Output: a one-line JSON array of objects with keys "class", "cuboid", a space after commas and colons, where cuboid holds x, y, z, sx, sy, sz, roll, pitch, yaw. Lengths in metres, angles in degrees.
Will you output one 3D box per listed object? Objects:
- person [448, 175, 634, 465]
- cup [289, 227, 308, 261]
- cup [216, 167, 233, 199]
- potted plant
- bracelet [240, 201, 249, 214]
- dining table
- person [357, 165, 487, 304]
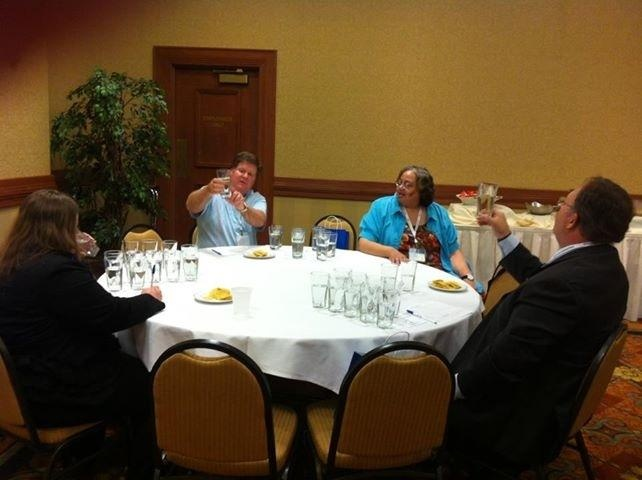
[{"class": "person", "cuboid": [0.924, 0.343, 2.013, 0.694, 1.197, 0.375, -5, 13, -31]}, {"class": "cup", "cuboid": [-0.152, 0.015, 3.196, 0.143, 0.280, 0.158, 1, 2, -4]}, {"class": "cup", "cuboid": [-0.618, -0.363, 3.079, 0.071, 0.188, 0.102, -1, 12, -12]}, {"class": "potted plant", "cuboid": [-1.808, -1.078, 5.103, 1.288, 1.194, 2.368, -19, 48, -21]}, {"class": "bracelet", "cuboid": [-0.543, -0.224, 3.426, 0.025, 0.065, 0.056, -2, 49, -29]}, {"class": "dining table", "cuboid": [2.155, 0.188, 4.724, 1.741, 0.530, 1.098, 1, 13, 7]}, {"class": "person", "cuboid": [0.703, 0.181, 3.575, 0.823, 1.530, 0.752, -1, -5, -2]}]
